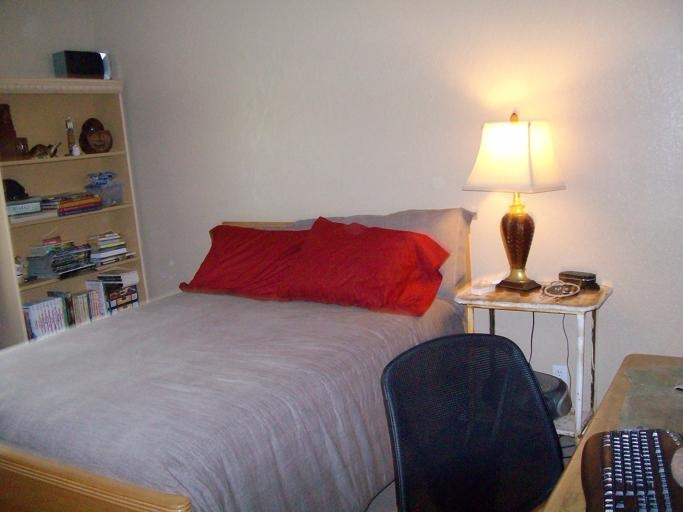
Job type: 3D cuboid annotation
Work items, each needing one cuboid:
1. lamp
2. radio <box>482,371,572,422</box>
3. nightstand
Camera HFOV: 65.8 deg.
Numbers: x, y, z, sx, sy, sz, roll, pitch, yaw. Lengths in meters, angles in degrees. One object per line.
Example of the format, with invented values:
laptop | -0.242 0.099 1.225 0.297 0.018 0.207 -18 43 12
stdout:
lamp | 0.872 -0.267 2.628 0.527 0.857 0.503 -10 11 -41
radio | 0.939 0.642 2.502 0.250 0.145 0.191 14 28 38
nightstand | 0.947 0.535 2.659 0.685 0.721 0.545 3 6 38
